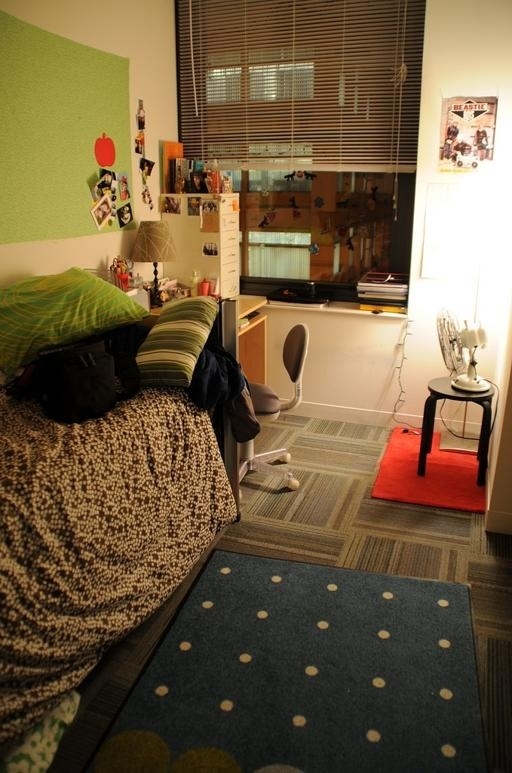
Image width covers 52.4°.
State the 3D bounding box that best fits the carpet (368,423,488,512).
[{"bbox_3d":[1.044,0.465,3.195,0.740,0.066,1.228,2,16,6],"label":"carpet"}]

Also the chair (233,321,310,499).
[{"bbox_3d":[-0.019,0.082,2.934,0.572,0.926,0.597,1,18,-14],"label":"chair"}]

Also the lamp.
[{"bbox_3d":[-0.601,-0.736,3.094,0.263,0.499,0.260,-11,31,-26],"label":"lamp"}]

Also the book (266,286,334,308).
[{"bbox_3d":[0.310,-0.684,3.804,0.520,0.165,0.242,3,11,11],"label":"book"}]

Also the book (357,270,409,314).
[{"bbox_3d":[0.865,-0.630,3.529,0.253,0.235,0.366,3,21,14],"label":"book"}]

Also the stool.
[{"bbox_3d":[1.182,0.277,3.040,0.385,0.617,0.411,3,33,7],"label":"stool"}]
